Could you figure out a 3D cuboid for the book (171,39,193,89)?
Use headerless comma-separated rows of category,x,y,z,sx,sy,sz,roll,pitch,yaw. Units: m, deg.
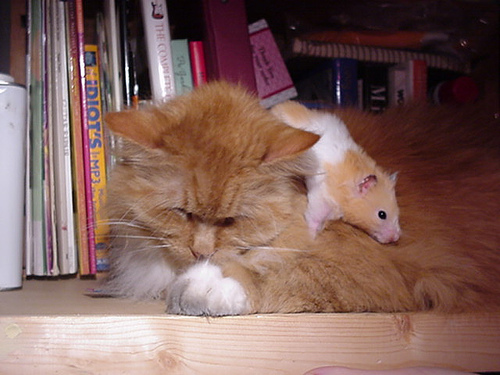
book,-0.207,-0.376,1.607,0.092,0.039,0.127,-8,99,-37

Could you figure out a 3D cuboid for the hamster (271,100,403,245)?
hamster,0.238,-0.062,1.374,0.267,0.088,0.453,-13,67,-5

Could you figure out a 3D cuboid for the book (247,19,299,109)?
book,0.057,-0.374,1.620,0.103,0.223,0.245,-6,108,-32

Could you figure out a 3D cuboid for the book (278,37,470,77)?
book,0.301,-0.438,1.787,0.746,0.384,0.110,-5,106,-26

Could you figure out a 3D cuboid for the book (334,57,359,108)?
book,0.291,-0.322,1.648,0.098,0.095,0.148,-16,109,-44

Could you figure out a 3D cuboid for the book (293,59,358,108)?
book,0.244,-0.325,1.634,0.180,0.100,0.161,3,106,12
